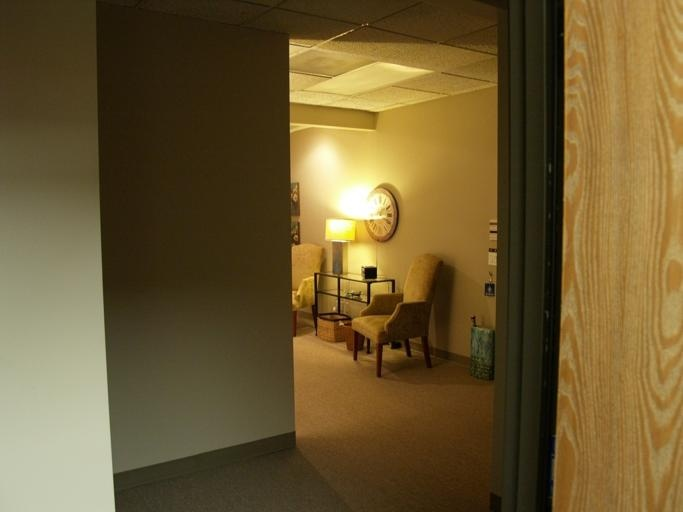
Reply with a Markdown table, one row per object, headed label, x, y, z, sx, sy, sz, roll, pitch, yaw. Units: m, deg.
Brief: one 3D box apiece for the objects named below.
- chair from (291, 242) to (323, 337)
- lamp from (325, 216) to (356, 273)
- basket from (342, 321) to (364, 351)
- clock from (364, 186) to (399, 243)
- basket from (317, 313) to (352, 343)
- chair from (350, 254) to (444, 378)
| label | x | y | z | sx | sy | sz | roll | pitch | yaw |
| --- | --- | --- | --- | --- | --- | --- | --- | --- | --- |
| chair | -0.590 | 0.417 | 7.072 | 0.661 | 1.080 | 0.734 | -2 | 5 | -9 |
| lamp | -0.002 | -0.111 | 6.587 | 0.330 | 0.649 | 0.423 | 1 | 4 | 8 |
| basket | 0.120 | 0.827 | 5.913 | 0.208 | 0.228 | 0.244 | 0 | 1 | -8 |
| clock | 0.418 | -0.426 | 6.156 | 0.045 | 0.583 | 0.498 | -4 | 0 | -43 |
| basket | -0.072 | 0.741 | 6.370 | 0.243 | 0.225 | 0.335 | -3 | 6 | -29 |
| chair | 0.530 | 0.497 | 5.456 | 0.782 | 1.031 | 0.795 | -1 | 5 | -24 |
